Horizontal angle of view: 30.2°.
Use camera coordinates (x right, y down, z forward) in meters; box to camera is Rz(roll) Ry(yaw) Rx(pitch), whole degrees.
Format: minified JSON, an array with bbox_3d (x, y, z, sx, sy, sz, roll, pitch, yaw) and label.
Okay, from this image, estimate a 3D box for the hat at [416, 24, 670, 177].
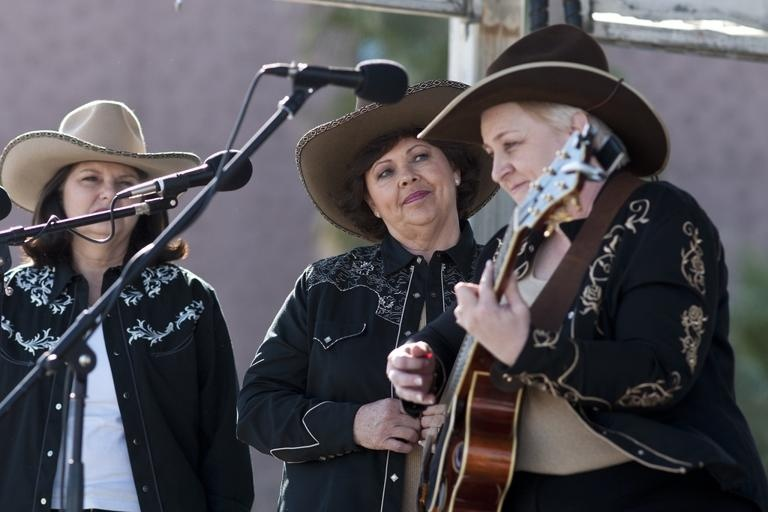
[{"bbox_3d":[0.980,-0.833,7.737,1.094,0.424,0.886,15,-27,-15],"label":"hat"}]
